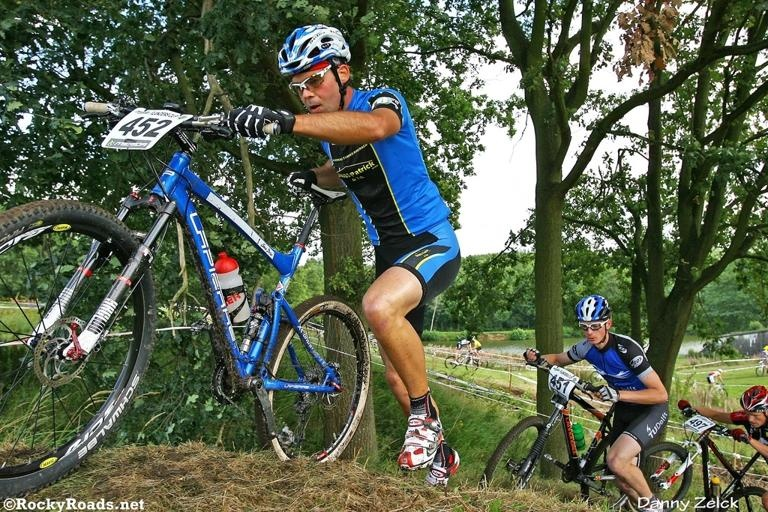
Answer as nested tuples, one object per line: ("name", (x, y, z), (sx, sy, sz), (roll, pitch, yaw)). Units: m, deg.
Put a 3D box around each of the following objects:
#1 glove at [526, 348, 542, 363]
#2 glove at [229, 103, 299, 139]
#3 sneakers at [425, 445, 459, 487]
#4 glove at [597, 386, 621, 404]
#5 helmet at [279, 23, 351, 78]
("glove", (2.162, 1.460, 9.364), (0.235, 0.127, 0.177), (20, -16, -18))
("glove", (-0.999, -1.100, 5.245), (0.382, 0.163, 0.301), (7, 13, 15))
("sneakers", (0.577, 1.923, 6.067), (0.181, 0.251, 0.555), (10, 19, 20))
("glove", (3.078, 1.905, 8.744), (0.262, 0.113, 0.194), (15, 17, -38))
("helmet", (-0.619, -1.822, 5.711), (0.398, 0.304, 0.577), (3, 20, 40))
